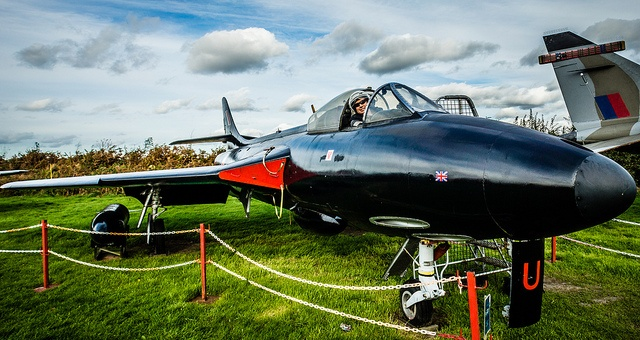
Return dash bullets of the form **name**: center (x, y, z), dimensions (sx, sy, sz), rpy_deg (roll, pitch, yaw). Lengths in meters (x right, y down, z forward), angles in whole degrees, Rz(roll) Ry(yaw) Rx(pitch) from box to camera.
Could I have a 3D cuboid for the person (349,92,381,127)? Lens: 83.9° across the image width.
- **person**: center (1.124, -1.556, 9.218), dimensions (0.768, 0.847, 0.457), rpy_deg (-3, -15, 28)
